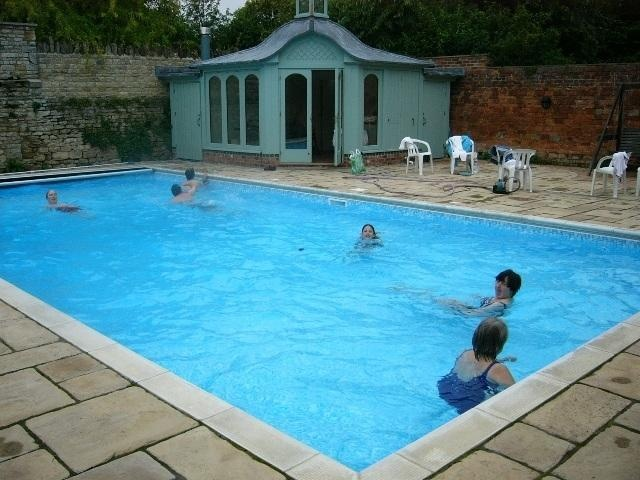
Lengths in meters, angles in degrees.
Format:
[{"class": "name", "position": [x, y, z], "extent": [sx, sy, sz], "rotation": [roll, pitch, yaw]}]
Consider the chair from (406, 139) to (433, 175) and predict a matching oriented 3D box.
[{"class": "chair", "position": [2.856, -2.564, 14.439], "extent": [0.757, 0.813, 0.613], "rotation": [30, 36, 31]}]

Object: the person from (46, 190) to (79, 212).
[{"class": "person", "position": [-5.693, -0.836, 10.783], "extent": [0.745, 0.312, 0.444], "rotation": [10, 20, 35]}]

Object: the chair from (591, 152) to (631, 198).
[{"class": "chair", "position": [5.974, -1.388, 10.341], "extent": [0.734, 0.800, 0.721], "rotation": [-6, 9, -38]}]

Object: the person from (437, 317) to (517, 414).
[{"class": "person", "position": [1.304, 1.045, 4.140], "extent": [0.424, 0.825, 0.558], "rotation": [-4, 15, -11]}]

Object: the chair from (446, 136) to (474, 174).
[{"class": "chair", "position": [4.043, -2.540, 14.224], "extent": [0.741, 0.960, 0.809], "rotation": [-5, 15, -12]}]

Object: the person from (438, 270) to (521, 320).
[{"class": "person", "position": [1.972, 0.690, 6.186], "extent": [1.066, 0.635, 0.640], "rotation": [2, 13, 34]}]

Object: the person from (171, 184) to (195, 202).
[{"class": "person", "position": [-3.181, -1.124, 11.443], "extent": [0.495, 0.424, 0.701], "rotation": [-5, 14, -15]}]

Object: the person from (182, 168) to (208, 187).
[{"class": "person", "position": [-3.296, -1.639, 12.933], "extent": [0.394, 0.509, 1.453], "rotation": [19, 4, -23]}]
